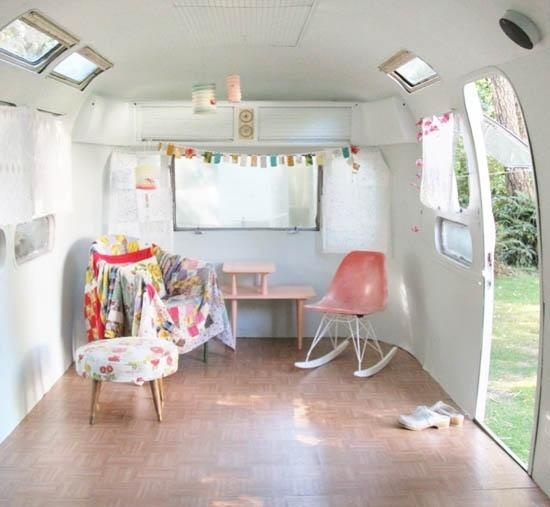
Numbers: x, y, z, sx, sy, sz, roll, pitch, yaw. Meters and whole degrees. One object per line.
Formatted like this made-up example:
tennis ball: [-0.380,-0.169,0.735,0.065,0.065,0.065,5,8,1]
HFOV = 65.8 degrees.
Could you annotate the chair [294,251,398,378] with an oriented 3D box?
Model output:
chair: [0.710,0.557,4.165,0.677,1.181,0.920,1,0,31]

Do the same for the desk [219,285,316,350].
desk: [-0.087,0.755,4.786,1.011,0.712,0.598,1,4,2]

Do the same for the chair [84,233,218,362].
chair: [-1.142,0.467,4.052,1.208,1.117,1.256,5,8,4]

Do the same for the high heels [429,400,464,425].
high heels: [1.259,1.150,3.104,0.090,0.084,0.197,-7,16,-25]

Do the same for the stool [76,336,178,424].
stool: [-1.074,0.897,3.141,0.707,0.498,0.690,5,3,43]

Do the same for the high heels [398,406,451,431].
high heels: [1.039,1.166,3.022,0.249,0.122,0.150,1,-1,-1]

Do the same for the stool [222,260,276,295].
stool: [-0.288,0.253,4.685,0.552,0.302,0.490,0,6,-2]
